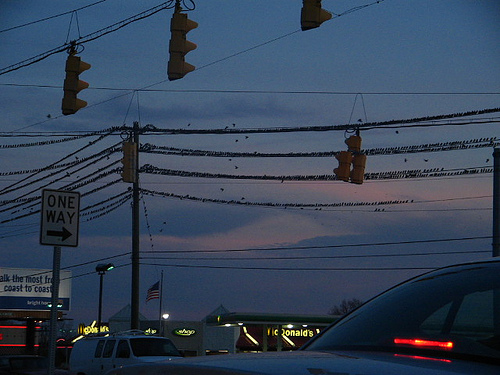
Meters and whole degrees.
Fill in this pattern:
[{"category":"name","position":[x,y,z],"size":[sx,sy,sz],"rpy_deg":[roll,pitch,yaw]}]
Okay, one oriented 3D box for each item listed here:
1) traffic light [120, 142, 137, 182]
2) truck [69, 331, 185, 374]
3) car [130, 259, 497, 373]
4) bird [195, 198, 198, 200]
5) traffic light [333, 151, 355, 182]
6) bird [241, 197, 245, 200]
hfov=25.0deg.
[{"category":"traffic light","position":[-4.905,-1.020,45.725],"size":[0.395,1.608,0.907],"rpy_deg":[-8,-7,21]},{"category":"truck","position":[-4.980,6.422,45.915],"size":[4.533,2.013,2.743],"rpy_deg":[-14,-21,38]},{"category":"car","position":[3.004,3.774,31.224],"size":[8.808,2.392,3.763],"rpy_deg":[5,-12,-10]},{"category":"bird","position":[-2.041,0.437,42.530],"size":[0.128,0.106,0.090],"rpy_deg":[4,7,37]},{"category":"traffic light","position":[3.606,-0.771,43.496],"size":[0.723,1.217,0.804],"rpy_deg":[-7,-6,11]},{"category":"bird","position":[-0.089,0.146,14.554],"size":[0.044,0.036,0.010],"rpy_deg":[-2,0,-12]}]
